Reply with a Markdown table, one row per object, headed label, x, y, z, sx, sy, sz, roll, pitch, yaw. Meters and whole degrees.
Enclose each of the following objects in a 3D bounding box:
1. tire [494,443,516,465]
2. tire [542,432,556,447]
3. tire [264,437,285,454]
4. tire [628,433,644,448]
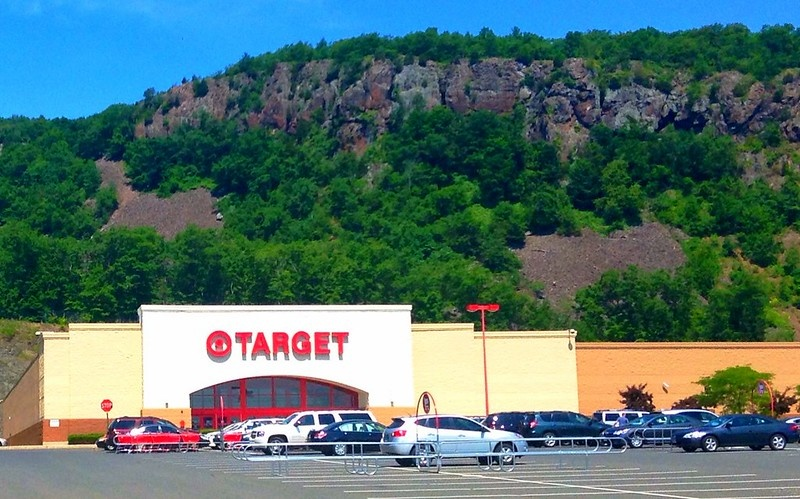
| label | x | y | z | sx | sy | sz | roll | pitch | yaw |
| --- | --- | --- | --- | --- | --- | --- | --- | --- | --- |
| tire | 16.538 | 32.595 | 326.571 | 3.323 | 3.228 | 1.182 | 2 | -10 | -16 |
| tire | 24.251 | 30.944 | 334.147 | 2.346 | 2.276 | 0.906 | -4 | 0 | 2 |
| tire | -19.933 | 31.873 | 331.375 | 2.675 | 2.594 | 0.999 | -1 | -4 | -7 |
| tire | 38.168 | 31.300 | 335.365 | 2.419 | 2.348 | 0.859 | -1 | -9 | -10 |
